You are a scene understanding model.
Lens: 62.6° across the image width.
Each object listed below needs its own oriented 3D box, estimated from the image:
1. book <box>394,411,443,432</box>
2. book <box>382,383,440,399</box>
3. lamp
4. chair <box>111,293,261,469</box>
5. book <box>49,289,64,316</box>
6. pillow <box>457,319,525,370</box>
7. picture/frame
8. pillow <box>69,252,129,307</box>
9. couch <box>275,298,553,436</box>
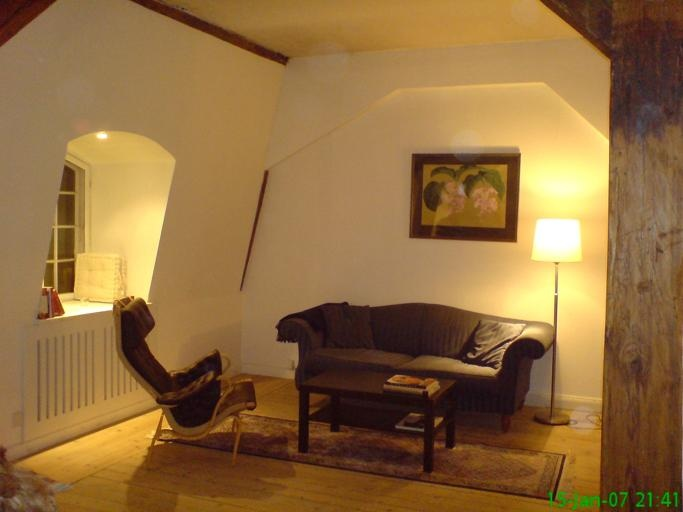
[{"bbox_3d":[0.547,1.266,4.238,0.188,0.045,0.205,-1,4,44],"label":"book"},{"bbox_3d":[0.525,0.985,4.143,0.427,0.070,0.212,0,6,-2],"label":"book"},{"bbox_3d":[1.923,0.569,5.093,0.390,1.809,0.548,3,7,21],"label":"lamp"},{"bbox_3d":[-1.183,0.893,4.400,1.053,1.051,0.945,0,3,-15],"label":"chair"},{"bbox_3d":[-2.289,0.372,4.500,0.047,0.180,0.180,-7,3,-1],"label":"book"},{"bbox_3d":[1.351,0.793,5.128,0.498,0.330,0.512,6,8,42],"label":"pillow"},{"bbox_3d":[1.262,-0.588,5.547,0.925,0.740,0.065,3,2,21],"label":"picture/frame"},{"bbox_3d":[-2.270,0.211,5.396,0.501,0.418,0.527,1,-3,33],"label":"pillow"},{"bbox_3d":[0.653,0.987,5.388,2.552,0.968,0.951,1,0,33],"label":"couch"}]
